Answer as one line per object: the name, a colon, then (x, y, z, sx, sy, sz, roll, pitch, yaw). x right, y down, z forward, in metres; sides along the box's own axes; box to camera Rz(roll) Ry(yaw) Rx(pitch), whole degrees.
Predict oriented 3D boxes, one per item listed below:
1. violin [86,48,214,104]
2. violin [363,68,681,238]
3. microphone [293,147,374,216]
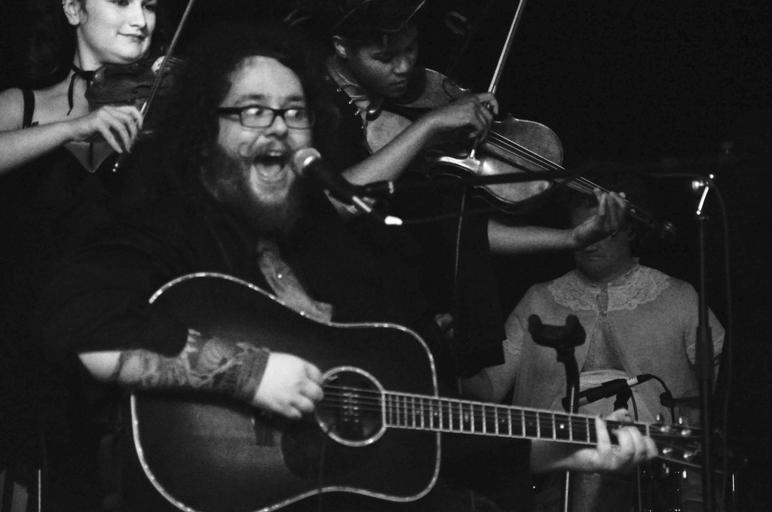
violin: (-0.827, -0.661, 3.750, 0.389, 0.189, 0.650, -3, 8, 13)
violin: (0.576, -0.368, 3.909, 1.253, 0.482, 0.185, 21, -16, -16)
microphone: (-0.213, -0.281, 3.419, 0.121, 0.133, 0.458, -15, 39, -42)
